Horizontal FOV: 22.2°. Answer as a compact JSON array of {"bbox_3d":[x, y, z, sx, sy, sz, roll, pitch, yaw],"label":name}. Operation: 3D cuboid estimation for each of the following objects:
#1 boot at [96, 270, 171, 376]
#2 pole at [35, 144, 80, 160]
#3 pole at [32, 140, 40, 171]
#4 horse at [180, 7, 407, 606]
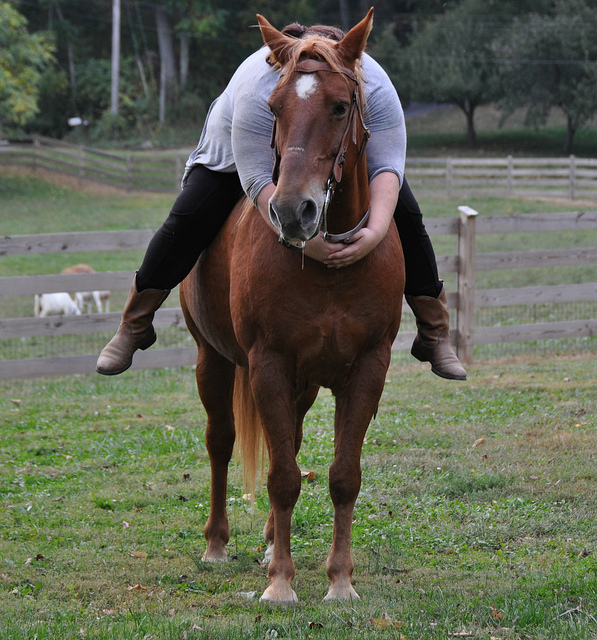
[{"bbox_3d":[-1.167,0.018,10.667,0.222,0.565,0.666,22,32,17],"label":"boot"},{"bbox_3d":[-1.873,-1.297,11.725,0.240,0.039,0.041,22,-43,-33],"label":"pole"},{"bbox_3d":[-2.006,-1.261,11.643,0.053,0.226,0.081,-3,11,-1],"label":"pole"},{"bbox_3d":[-0.045,0.164,10.375,1.202,3.546,4.268,1,-7,-10],"label":"horse"}]
